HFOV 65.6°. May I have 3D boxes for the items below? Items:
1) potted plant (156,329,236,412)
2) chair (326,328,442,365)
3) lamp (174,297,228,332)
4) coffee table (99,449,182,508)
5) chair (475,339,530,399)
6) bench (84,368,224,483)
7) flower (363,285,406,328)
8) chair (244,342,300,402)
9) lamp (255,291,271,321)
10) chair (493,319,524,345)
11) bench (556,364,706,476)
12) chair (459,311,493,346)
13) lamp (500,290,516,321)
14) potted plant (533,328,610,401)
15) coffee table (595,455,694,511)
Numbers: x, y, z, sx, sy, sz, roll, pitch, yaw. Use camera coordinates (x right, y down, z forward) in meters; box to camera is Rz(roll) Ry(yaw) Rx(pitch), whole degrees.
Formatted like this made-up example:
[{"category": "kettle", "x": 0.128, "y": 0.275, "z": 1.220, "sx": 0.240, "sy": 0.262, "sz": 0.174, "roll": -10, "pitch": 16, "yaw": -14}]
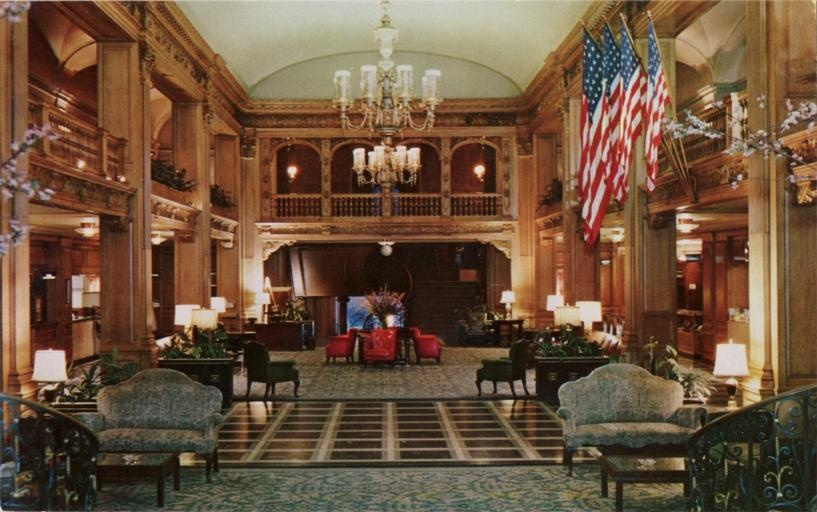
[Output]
[{"category": "potted plant", "x": -4.220, "y": 2.351, "z": 13.150, "sx": 1.724, "sy": 1.485, "sz": 1.600, "roll": 1, "pitch": -5, "yaw": -5}, {"category": "chair", "x": -0.709, "y": 2.401, "z": 16.951, "sx": 2.944, "sy": 1.036, "sz": 1.470, "roll": -1, "pitch": 4, "yaw": -9}, {"category": "lamp", "x": -4.803, "y": 1.339, "z": 14.516, "sx": 1.261, "sy": 0.801, "sz": 0.707, "roll": 0, "pitch": -5, "yaw": -10}, {"category": "coffee table", "x": -3.461, "y": 2.828, "z": 8.418, "sx": 0.976, "sy": 0.396, "sz": 0.689, "roll": 0, "pitch": -7, "yaw": 0}, {"category": "chair", "x": 2.022, "y": 2.337, "z": 13.501, "sx": 1.056, "sy": 1.024, "sz": 0.902, "roll": -4, "pitch": -5, "yaw": 26}, {"category": "bench", "x": -3.626, "y": 2.347, "z": 8.941, "sx": 1.966, "sy": 1.169, "sz": 0.968, "roll": 2, "pitch": 0, "yaw": -4}, {"category": "flower", "x": -0.546, "y": 1.495, "z": 17.973, "sx": 1.112, "sy": 1.046, "sz": 0.966, "roll": 5, "pitch": 3, "yaw": -40}, {"category": "chair", "x": -2.881, "y": 2.393, "z": 13.284, "sx": 1.115, "sy": 1.005, "sz": 1.039, "roll": 4, "pitch": -10, "yaw": -22}, {"category": "lamp", "x": -4.579, "y": 1.630, "z": 19.989, "sx": 0.430, "sy": 1.013, "sz": 1.380, "roll": -1, "pitch": 4, "yaw": -12}, {"category": "chair", "x": 3.154, "y": 2.457, "z": 20.329, "sx": 1.123, "sy": 0.918, "sz": 0.896, "roll": 0, "pitch": -5, "yaw": -1}, {"category": "bench", "x": 3.104, "y": 2.269, "z": 8.990, "sx": 1.946, "sy": 1.156, "sz": 0.909, "roll": -3, "pitch": 0, "yaw": 7}, {"category": "chair", "x": 2.253, "y": 2.421, "z": 21.113, "sx": 1.099, "sy": 0.971, "sz": 0.832, "roll": 0, "pitch": 5, "yaw": 13}, {"category": "lamp", "x": 3.133, "y": 1.547, "z": 19.981, "sx": 0.410, "sy": 0.920, "sz": 1.218, "roll": 1, "pitch": 4, "yaw": 9}, {"category": "potted plant", "x": 3.475, "y": 2.274, "z": 13.110, "sx": 1.829, "sy": 1.086, "sz": 1.688, "roll": 4, "pitch": -10, "yaw": -3}, {"category": "coffee table", "x": 2.975, "y": 3.056, "z": 8.099, "sx": 0.761, "sy": 0.356, "sz": 0.965, "roll": 0, "pitch": -5, "yaw": 3}]
